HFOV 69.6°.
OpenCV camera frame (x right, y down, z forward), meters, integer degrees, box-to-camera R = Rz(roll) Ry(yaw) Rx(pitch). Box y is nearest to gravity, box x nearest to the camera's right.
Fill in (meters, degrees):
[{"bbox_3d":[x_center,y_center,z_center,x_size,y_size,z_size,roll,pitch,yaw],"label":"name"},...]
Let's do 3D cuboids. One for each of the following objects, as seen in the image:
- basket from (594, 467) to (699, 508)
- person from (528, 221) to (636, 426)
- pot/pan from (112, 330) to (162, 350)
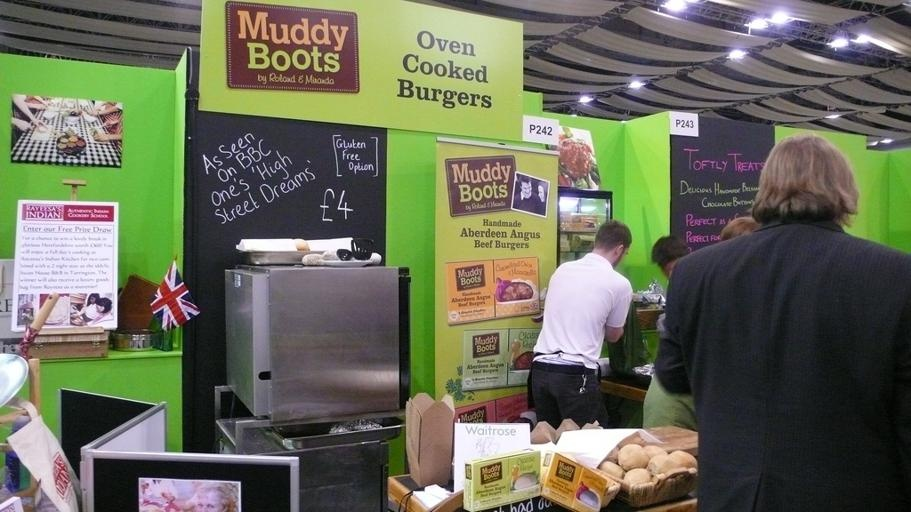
[{"bbox_3d":[1.104,1.289,3.600,0.307,0.106,0.307,1,-6,-30],"label":"basket"},{"bbox_3d":[0.988,0.541,5.116,0.807,1.621,0.431,-2,2,6],"label":"person"},{"bbox_3d":[-2.552,0.674,5.175,0.382,0.142,0.112,-1,2,10],"label":"pot/pan"}]
